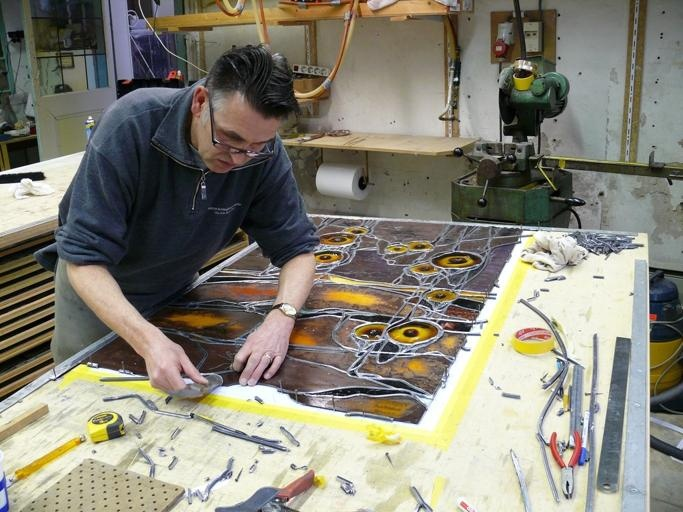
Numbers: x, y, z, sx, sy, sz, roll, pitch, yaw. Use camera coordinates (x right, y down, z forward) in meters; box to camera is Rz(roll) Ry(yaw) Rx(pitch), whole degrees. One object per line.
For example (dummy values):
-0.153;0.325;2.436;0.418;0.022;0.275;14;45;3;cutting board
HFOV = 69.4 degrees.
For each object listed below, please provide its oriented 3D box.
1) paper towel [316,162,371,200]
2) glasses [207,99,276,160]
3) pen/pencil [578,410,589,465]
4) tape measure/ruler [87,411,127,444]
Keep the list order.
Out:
0.026;-0.608;3.966;0.352;0.289;0.293;7;-24;22;paper towel
-0.263;-0.347;1.346;0.086;0.166;0.209;6;17;29;glasses
0.525;0.398;1.071;0.012;0.012;0.103;12;37;17;pen/pencil
-0.565;0.399;1.178;0.083;0.038;0.105;-11;18;-30;tape measure/ruler
